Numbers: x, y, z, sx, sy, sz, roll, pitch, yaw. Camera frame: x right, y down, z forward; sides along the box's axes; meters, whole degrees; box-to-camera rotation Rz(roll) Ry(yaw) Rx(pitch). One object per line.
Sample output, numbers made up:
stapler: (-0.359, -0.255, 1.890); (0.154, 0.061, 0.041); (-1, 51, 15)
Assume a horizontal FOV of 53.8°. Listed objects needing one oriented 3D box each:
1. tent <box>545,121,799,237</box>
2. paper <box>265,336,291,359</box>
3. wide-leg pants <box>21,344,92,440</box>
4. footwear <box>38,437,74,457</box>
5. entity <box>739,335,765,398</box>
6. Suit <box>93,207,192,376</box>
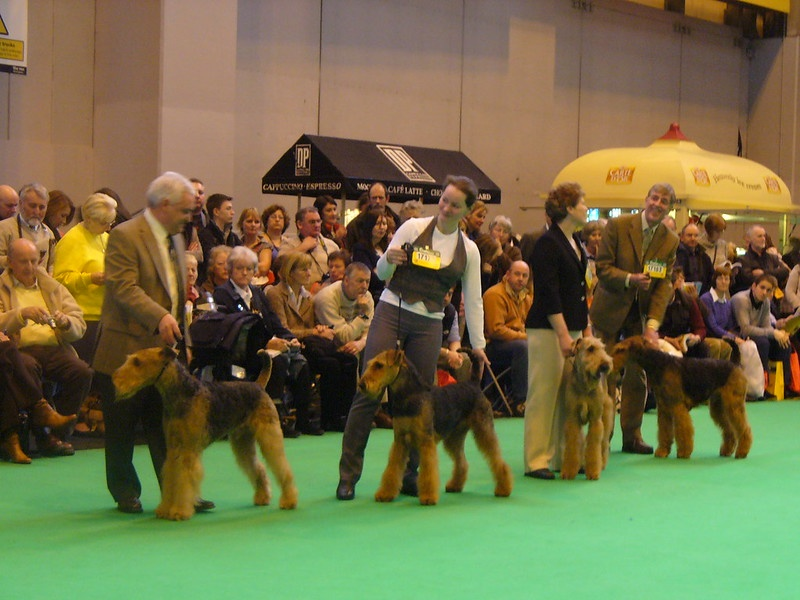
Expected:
tent: (5.592, -2.547, 16.279); (3.493, 2.191, 4.174); (1, -4, 40)
paper: (-1.112, 0.413, 6.982); (0.149, 0.085, 0.208); (4, -25, -32)
wide-leg pants: (-3.035, 0.697, 7.088); (0.523, 0.921, 0.243); (-22, 10, -14)
footwear: (-3.015, 1.262, 6.983); (0.278, 0.225, 0.152); (-3, 4, -7)
entity: (4.718, 0.863, 10.585); (0.387, 0.907, 0.588); (-1, 18, 20)
Suit: (-1.770, -0.074, 5.580); (0.587, 1.135, 0.750); (11, 12, 10)
